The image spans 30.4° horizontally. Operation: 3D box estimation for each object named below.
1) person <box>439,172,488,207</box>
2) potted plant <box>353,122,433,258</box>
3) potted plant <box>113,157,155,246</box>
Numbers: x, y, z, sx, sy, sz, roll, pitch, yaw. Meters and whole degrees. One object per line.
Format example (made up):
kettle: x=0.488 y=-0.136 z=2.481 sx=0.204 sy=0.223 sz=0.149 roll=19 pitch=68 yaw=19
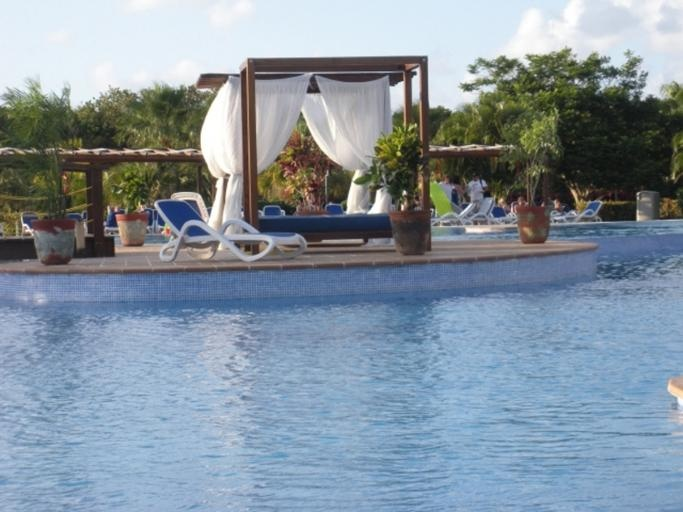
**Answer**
person: x=3.665 y=-1.952 z=37.958 sx=1.144 sy=0.516 sz=2.032 roll=0 pitch=-27 yaw=2
potted plant: x=1.084 y=-1.270 z=23.841 sx=1.107 sy=2.475 sz=0.825 roll=1 pitch=3 yaw=39
potted plant: x=-6.404 y=-1.574 z=38.246 sx=1.093 sy=2.216 sz=1.306 roll=-1 pitch=2 yaw=-35
